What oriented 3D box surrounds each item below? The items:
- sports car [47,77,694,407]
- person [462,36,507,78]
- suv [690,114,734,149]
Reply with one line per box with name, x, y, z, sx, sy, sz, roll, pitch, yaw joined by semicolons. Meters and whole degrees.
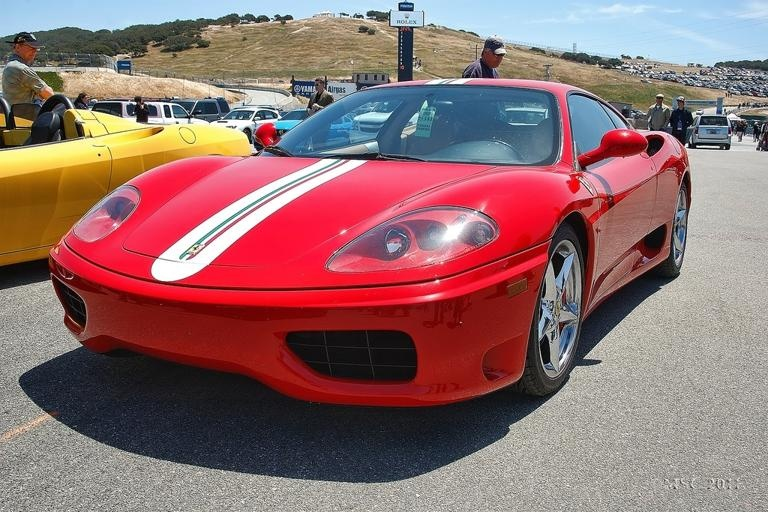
sports car;0.027;-0.131;3.196;2.993;1.715;2.038;-20;28;-41
person;1.201;-2.381;6.406;0.412;0.450;0.873;3;21;11
suv;16.431;-6.225;27.179;1.115;1.794;1.970;-16;26;-28
